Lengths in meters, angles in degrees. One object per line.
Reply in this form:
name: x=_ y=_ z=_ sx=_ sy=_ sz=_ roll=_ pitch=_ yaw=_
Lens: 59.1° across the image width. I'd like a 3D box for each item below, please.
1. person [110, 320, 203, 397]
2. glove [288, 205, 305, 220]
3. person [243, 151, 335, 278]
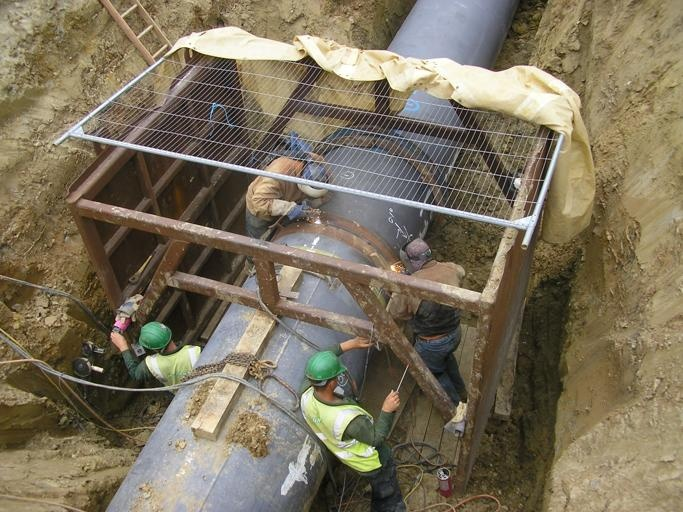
person: x=-2.090 y=1.149 z=6.620 sx=0.423 sy=0.782 sz=0.561 roll=-40 pitch=82 yaw=-19
glove: x=-0.505 y=-0.493 z=6.755 sx=0.197 sy=0.126 sz=0.126 roll=3 pitch=62 yaw=-2
person: x=-0.647 y=-0.611 z=6.940 sx=0.994 sy=1.913 sz=0.575 roll=8 pitch=60 yaw=2
